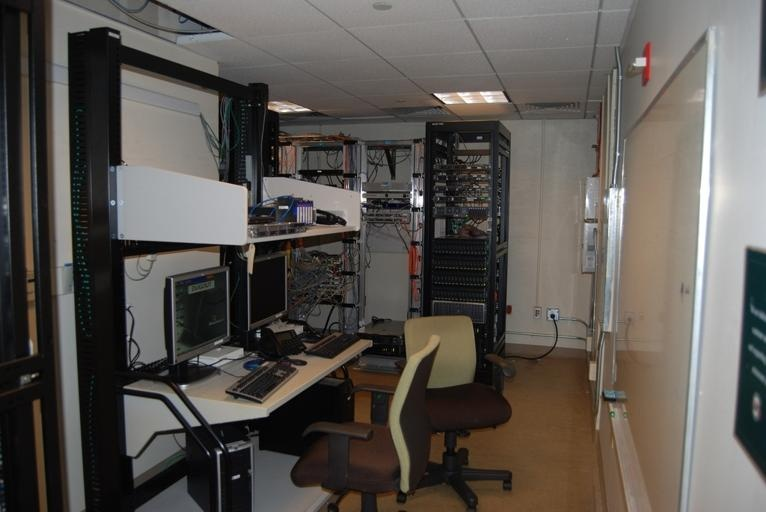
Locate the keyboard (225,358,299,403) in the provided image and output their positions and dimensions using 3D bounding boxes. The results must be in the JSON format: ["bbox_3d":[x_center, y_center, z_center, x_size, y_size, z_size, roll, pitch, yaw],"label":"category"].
[{"bbox_3d":[-0.681,0.695,3.214,0.223,0.075,0.435,5,7,14],"label":"keyboard"}]

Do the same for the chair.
[{"bbox_3d":[0.146,0.902,3.569,1.279,1.217,1.124,-1,-1,0],"label":"chair"}]

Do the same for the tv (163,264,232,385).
[{"bbox_3d":[-1.045,0.406,3.261,0.242,0.683,0.614,1,3,13],"label":"tv"}]

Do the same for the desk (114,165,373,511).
[{"bbox_3d":[-0.747,0.275,3.510,0.933,1.587,1.437,7,12,24],"label":"desk"}]
